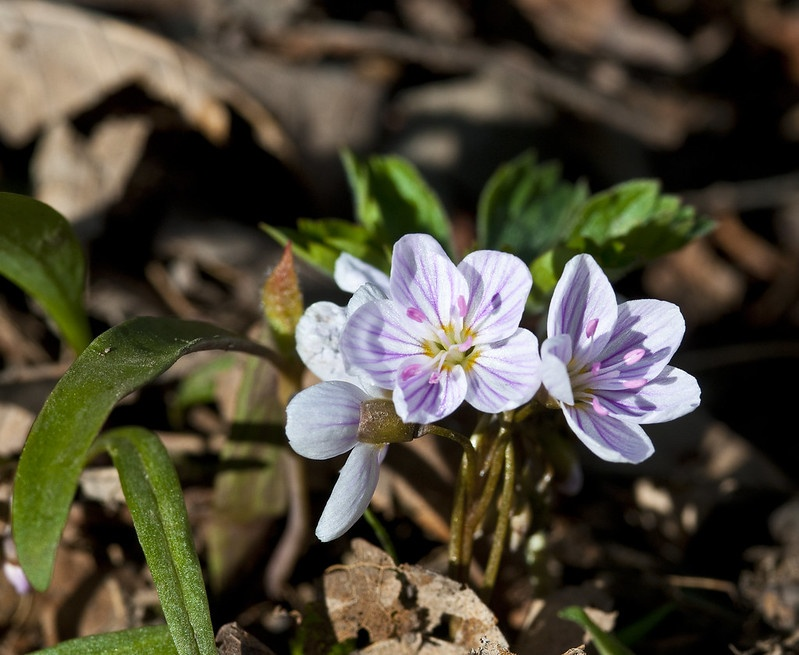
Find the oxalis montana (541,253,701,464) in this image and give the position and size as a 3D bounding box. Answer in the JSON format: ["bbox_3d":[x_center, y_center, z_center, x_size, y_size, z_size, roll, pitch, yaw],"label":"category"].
[{"bbox_3d":[0.522,0.088,2.356,0.460,0.289,0.545,6,80,-24],"label":"oxalis montana"}]

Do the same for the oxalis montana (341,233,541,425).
[{"bbox_3d":[0.092,0.003,2.259,0.491,0.265,0.434,-6,52,-6],"label":"oxalis montana"}]

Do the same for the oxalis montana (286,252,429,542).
[{"bbox_3d":[-0.140,0.170,2.356,0.251,0.669,0.452,4,2,40],"label":"oxalis montana"}]
